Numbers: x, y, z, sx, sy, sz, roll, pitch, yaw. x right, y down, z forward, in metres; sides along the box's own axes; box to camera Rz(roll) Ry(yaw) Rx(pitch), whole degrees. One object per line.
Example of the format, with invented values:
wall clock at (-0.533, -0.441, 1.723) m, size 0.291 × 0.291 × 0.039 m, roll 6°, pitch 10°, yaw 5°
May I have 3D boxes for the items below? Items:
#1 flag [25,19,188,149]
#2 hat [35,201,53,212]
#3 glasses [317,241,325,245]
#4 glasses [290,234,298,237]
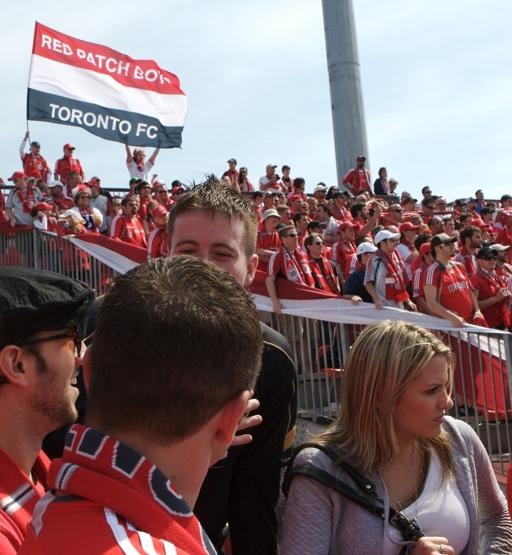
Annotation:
flag at (-3.119, -3.907, 13.185) m, size 0.544 × 2.088 × 4.159 m, roll 0°, pitch 1°, yaw 34°
hat at (-3.627, -1.207, 10.806) m, size 0.328 × 0.149 × 0.209 m, roll -11°, pitch 26°, yaw -39°
glasses at (0.857, -0.463, 8.365) m, size 0.043 × 0.048 × 0.015 m, roll -9°, pitch -5°, yaw -9°
glasses at (0.470, -0.539, 7.915) m, size 0.056 × 0.012 × 0.048 m, roll 5°, pitch -12°, yaw -24°
